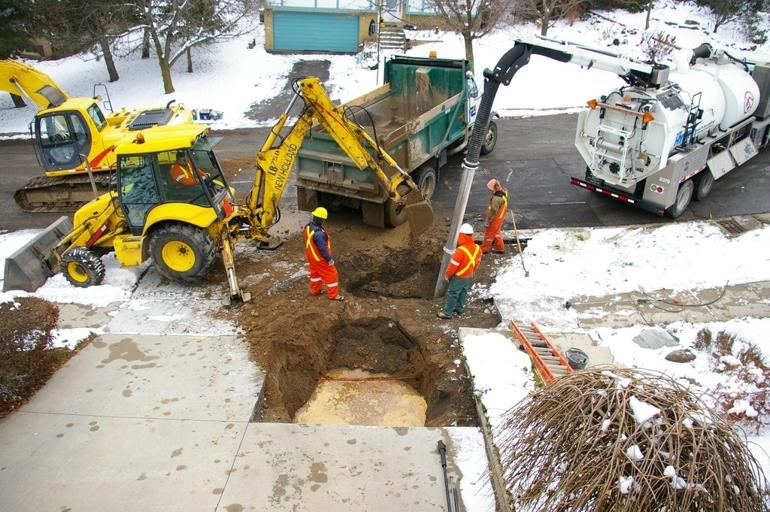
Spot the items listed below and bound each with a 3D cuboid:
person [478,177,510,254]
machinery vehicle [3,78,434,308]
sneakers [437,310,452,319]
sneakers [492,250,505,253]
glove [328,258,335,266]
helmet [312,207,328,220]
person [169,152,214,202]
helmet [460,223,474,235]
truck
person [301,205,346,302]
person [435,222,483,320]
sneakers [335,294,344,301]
[{"bbox_3d":[2.420,-1.040,10.371,0.495,1.493,1.467,6,34,11],"label":"person"},{"bbox_3d":[-3.681,-1.460,10.003,9.453,4.270,3.586,2,37,-1],"label":"machinery vehicle"},{"bbox_3d":[1.076,1.056,8.680,0.237,0.103,0.108,10,36,11],"label":"sneakers"},{"bbox_3d":[2.444,-0.094,10.260,0.122,0.036,0.087,-6,28,-1],"label":"sneakers"},{"bbox_3d":[-0.966,0.089,8.786,0.092,0.093,0.105,32,55,32],"label":"glove"},{"bbox_3d":[-1.150,-0.755,8.793,0.268,0.134,0.319,7,27,2],"label":"helmet"},{"bbox_3d":[-3.621,-1.611,9.096,0.870,0.598,0.600,10,37,-11],"label":"person"},{"bbox_3d":[1.402,-0.461,8.291,0.219,0.157,0.305,-1,6,0],"label":"helmet"},{"bbox_3d":[0.675,-3.533,13.064,2.842,2.817,6.109,17,40,31],"label":"truck"},{"bbox_3d":[-1.133,0.038,8.837,0.577,1.704,0.769,-8,34,-10],"label":"person"},{"bbox_3d":[1.304,0.302,8.404,0.494,1.637,0.684,16,37,24],"label":"person"},{"bbox_3d":[-0.831,0.770,9.002,0.159,0.072,0.059,4,33,3],"label":"sneakers"}]
